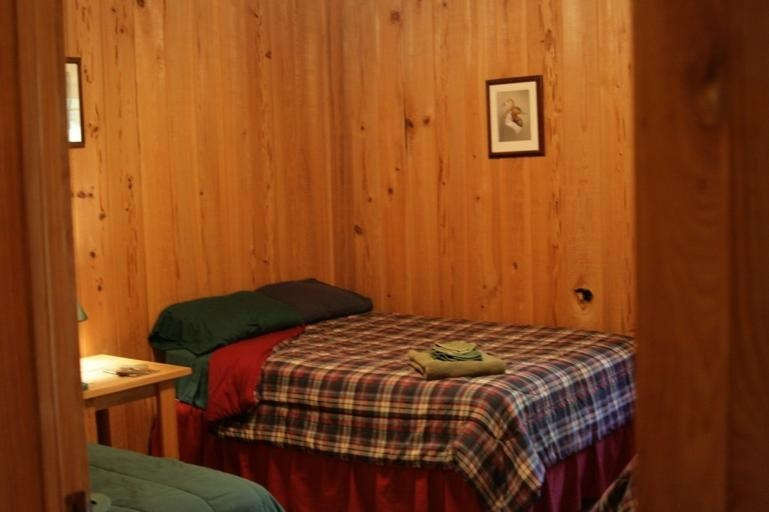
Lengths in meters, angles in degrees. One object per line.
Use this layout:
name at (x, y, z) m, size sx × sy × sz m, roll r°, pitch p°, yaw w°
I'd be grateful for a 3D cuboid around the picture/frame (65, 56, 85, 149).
picture/frame at (-1.632, -0.736, 3.626) m, size 0.032 × 0.301 × 0.172 m, roll -22°, pitch 50°, yaw -42°
